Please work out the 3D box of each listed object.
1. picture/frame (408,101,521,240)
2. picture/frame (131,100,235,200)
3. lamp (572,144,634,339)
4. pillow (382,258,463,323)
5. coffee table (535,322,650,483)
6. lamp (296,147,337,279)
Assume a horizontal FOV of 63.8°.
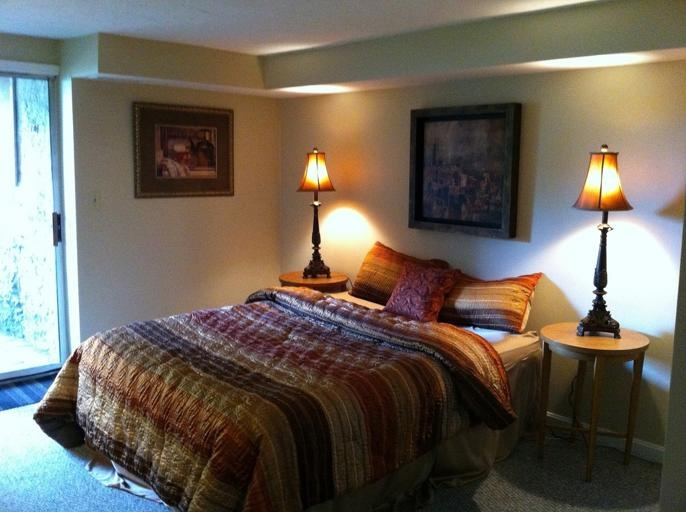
[{"bbox_3d":[0.954,-0.675,4.210,0.980,1.059,0.104,8,10,44],"label":"picture/frame"},{"bbox_3d":[-1.489,-0.982,4.997,0.894,0.820,0.067,-5,8,-39],"label":"picture/frame"},{"bbox_3d":[1.616,-0.114,3.481,0.346,1.155,0.494,6,16,23],"label":"lamp"},{"bbox_3d":[0.577,0.243,4.009,0.424,0.422,0.132,13,-20,47],"label":"pillow"},{"bbox_3d":[1.554,0.913,3.515,0.540,0.762,0.555,6,-1,-15],"label":"coffee table"},{"bbox_3d":[-0.237,-0.410,5.061,0.326,1.141,0.582,-1,14,-1],"label":"lamp"}]
